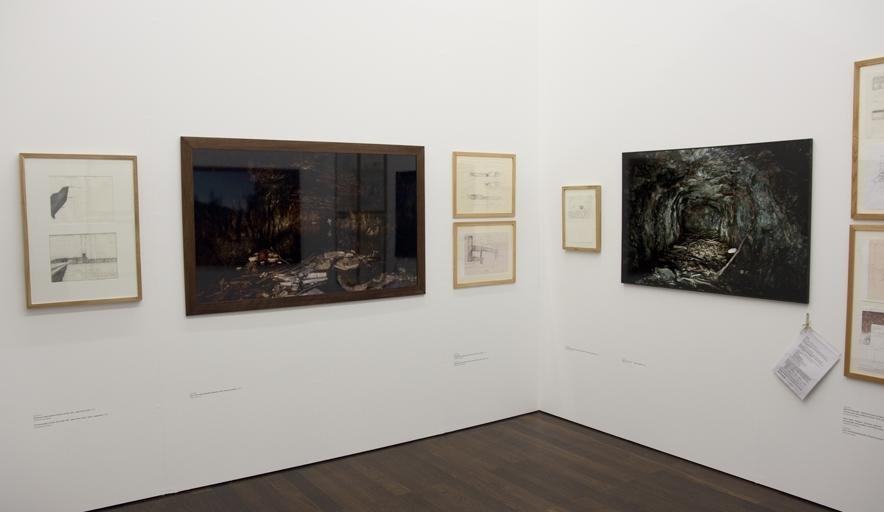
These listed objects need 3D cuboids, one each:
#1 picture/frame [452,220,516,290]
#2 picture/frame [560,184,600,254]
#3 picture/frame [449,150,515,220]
[{"bbox_3d":[0.505,-0.009,7.200,1.005,0.806,0.045,-1,2,-26],"label":"picture/frame"},{"bbox_3d":[1.807,-0.455,7.154,0.530,0.859,0.115,4,8,39],"label":"picture/frame"},{"bbox_3d":[0.551,-0.904,7.194,0.968,0.812,0.059,-4,7,-30],"label":"picture/frame"}]
